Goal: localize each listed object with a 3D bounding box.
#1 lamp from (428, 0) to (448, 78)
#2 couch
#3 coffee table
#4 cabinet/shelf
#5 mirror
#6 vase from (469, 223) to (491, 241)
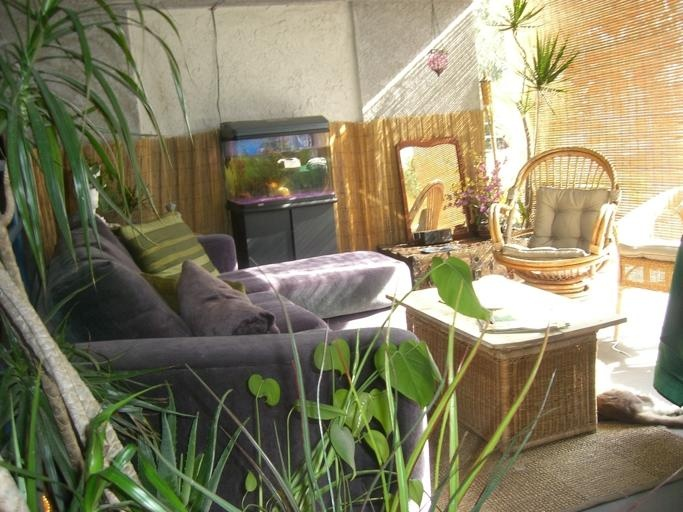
[{"bbox_3d":[0.845,-1.930,4.948,0.182,0.654,0.159,-4,11,8],"label":"lamp"},{"bbox_3d":[-0.453,0.302,1.918,0.922,0.862,1.537,-12,13,-28],"label":"couch"},{"bbox_3d":[0.698,0.376,2.353,0.602,0.451,0.876,-6,16,-20],"label":"coffee table"},{"bbox_3d":[-0.453,-0.162,4.069,0.450,0.448,0.189,-8,13,-30],"label":"cabinet/shelf"},{"bbox_3d":[0.792,-0.555,4.928,0.721,1.110,0.044,-12,2,-21],"label":"mirror"},{"bbox_3d":[1.222,-0.222,4.901,0.150,0.145,0.155,-7,11,-24],"label":"vase"}]
